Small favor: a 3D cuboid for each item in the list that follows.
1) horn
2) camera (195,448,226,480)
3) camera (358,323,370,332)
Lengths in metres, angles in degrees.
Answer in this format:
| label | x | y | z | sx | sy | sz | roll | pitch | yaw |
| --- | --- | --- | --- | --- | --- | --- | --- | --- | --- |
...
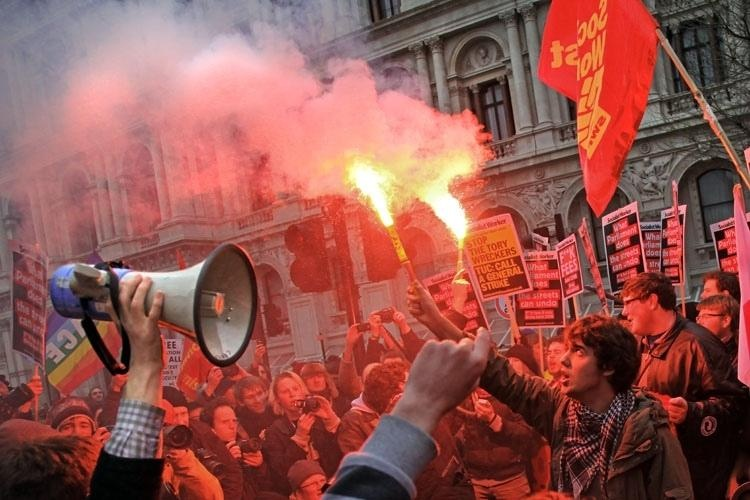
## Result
| label | x | y | z | sx | sy | sz | roll | pitch | yaw |
| --- | --- | --- | --- | --- | --- | --- | --- | --- | --- |
| horn | -1.201 | 0.281 | 3.464 | 1.021 | 0.734 | 0.607 | 3 | 5 | 18 |
| camera | -1.576 | 2.008 | 6.202 | 0.186 | 0.157 | 0.363 | 34 | -13 | -28 |
| camera | -0.138 | 0.928 | 7.834 | 0.129 | 0.091 | 0.135 | 5 | 1 | 17 |
